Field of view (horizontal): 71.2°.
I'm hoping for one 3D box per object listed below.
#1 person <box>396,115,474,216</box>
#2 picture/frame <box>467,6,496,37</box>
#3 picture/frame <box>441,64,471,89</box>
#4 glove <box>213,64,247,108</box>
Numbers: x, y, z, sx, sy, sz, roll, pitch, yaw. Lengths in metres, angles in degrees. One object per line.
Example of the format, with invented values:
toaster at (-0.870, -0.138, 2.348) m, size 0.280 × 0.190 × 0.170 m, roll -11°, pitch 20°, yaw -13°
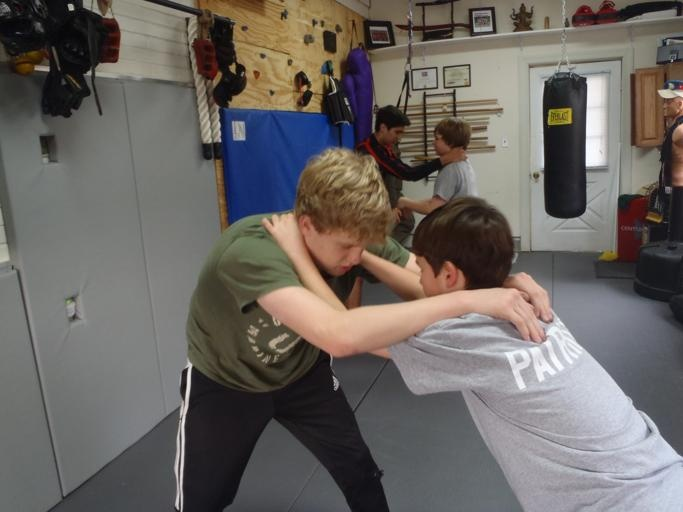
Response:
person at (0.917, -0.746, 4.530) m, size 0.697 × 1.182 × 0.782 m, roll 5°, pitch 24°, yaw 14°
picture/frame at (1.908, -3.219, 6.481) m, size 0.424 × 0.476 × 0.045 m, roll -8°, pitch 2°, yaw -7°
picture/frame at (1.643, -2.605, 6.817) m, size 0.330 × 0.311 × 0.033 m, roll 1°, pitch 3°, yaw 14°
glove at (-0.837, -1.278, 3.505) m, size 0.241 × 0.329 × 0.247 m, roll -4°, pitch 11°, yaw -20°
